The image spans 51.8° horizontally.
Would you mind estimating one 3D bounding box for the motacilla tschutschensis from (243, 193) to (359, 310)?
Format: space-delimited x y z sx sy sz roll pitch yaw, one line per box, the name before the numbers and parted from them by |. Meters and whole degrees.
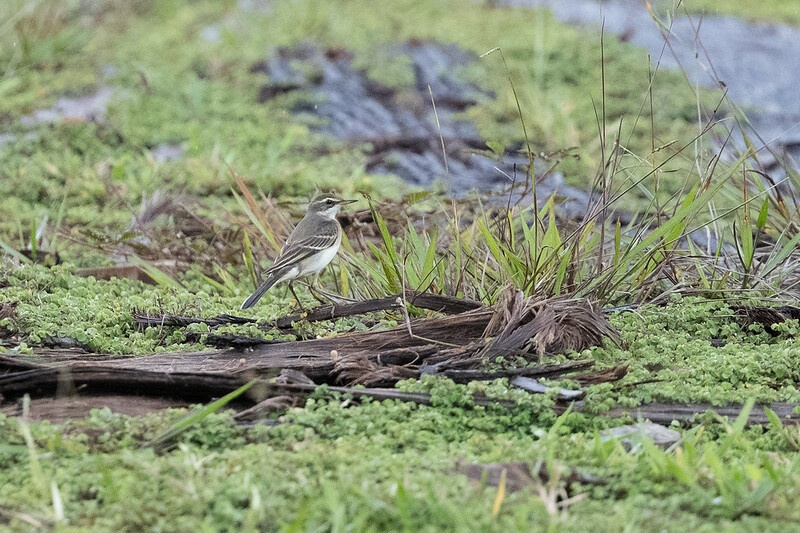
motacilla tschutschensis | -0.669 -0.091 5.567 0.984 0.723 0.367 -16 11 -40
